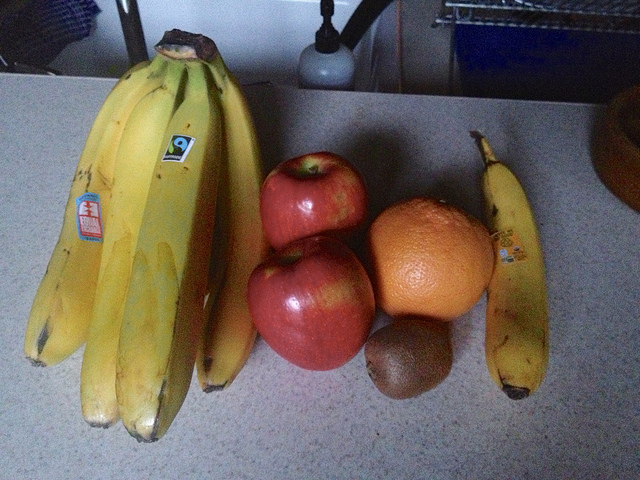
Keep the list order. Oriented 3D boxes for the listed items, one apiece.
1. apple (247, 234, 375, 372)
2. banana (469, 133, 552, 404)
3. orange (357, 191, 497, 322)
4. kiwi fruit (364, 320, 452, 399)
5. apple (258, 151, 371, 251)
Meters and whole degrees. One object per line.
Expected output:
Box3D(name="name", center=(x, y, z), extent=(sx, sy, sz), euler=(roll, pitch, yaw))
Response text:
Box3D(name="apple", center=(-0.011, 0.087, 0.845), extent=(0.166, 0.190, 0.183), euler=(-21, 23, 10))
Box3D(name="banana", center=(0.291, 0.033, 0.887), extent=(0.082, 0.136, 0.439), euler=(-3, 76, -2))
Box3D(name="orange", center=(0.162, 0.025, 0.813), extent=(0.187, 0.190, 0.192), euler=(3, 36, 14))
Box3D(name="kiwi fruit", center=(0.130, 0.172, 0.835), extent=(0.118, 0.092, 0.095), euler=(-15, 80, -26))
Box3D(name="apple", center=(-0.008, -0.061, 0.878), extent=(0.146, 0.147, 0.154), euler=(2, 30, 9))
